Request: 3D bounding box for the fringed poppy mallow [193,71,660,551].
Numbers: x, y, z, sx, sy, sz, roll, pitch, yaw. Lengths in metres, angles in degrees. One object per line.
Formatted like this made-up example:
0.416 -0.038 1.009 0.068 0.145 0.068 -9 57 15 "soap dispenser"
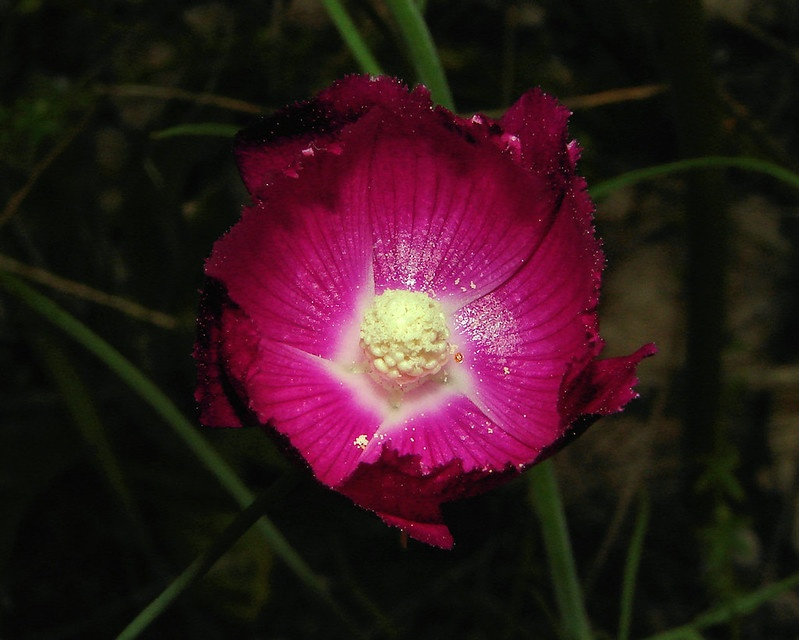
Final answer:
0.045 -0.012 0.522 0.317 0.127 0.291 -2 39 3 "fringed poppy mallow"
